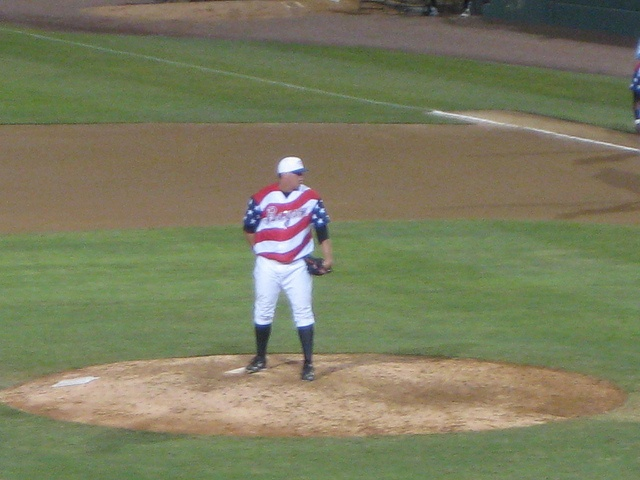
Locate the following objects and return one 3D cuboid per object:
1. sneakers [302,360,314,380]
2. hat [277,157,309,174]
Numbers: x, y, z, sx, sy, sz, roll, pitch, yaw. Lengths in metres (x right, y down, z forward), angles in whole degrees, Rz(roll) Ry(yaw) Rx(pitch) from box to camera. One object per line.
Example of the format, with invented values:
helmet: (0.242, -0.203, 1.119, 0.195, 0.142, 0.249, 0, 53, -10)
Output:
sneakers: (-0.194, 2.172, 28.646, 0.228, 0.157, 0.299, 1, 55, 2)
hat: (-0.458, -1.268, 28.616, 0.477, 0.169, 0.281, -2, 8, 7)
